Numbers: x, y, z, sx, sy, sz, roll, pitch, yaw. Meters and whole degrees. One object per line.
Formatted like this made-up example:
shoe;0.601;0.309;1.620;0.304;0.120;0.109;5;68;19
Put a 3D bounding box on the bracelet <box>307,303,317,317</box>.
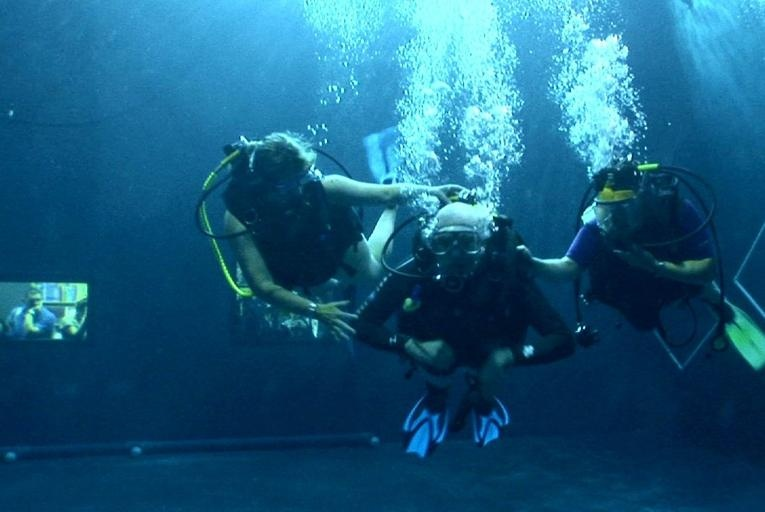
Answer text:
bracelet;-0.700;0.531;8.326;0.109;0.103;0.107;-1;1;-10
